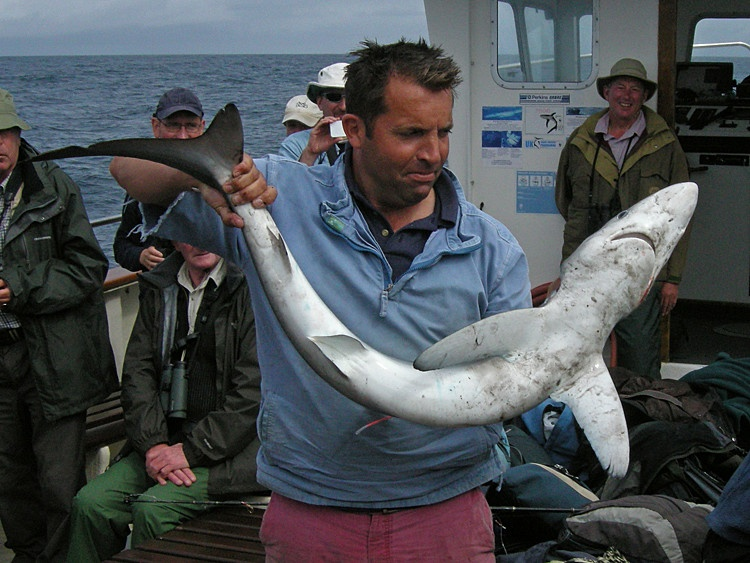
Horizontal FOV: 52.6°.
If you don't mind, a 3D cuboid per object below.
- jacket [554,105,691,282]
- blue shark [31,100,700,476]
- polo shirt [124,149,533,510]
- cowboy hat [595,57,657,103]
[{"bbox_3d":[2.319,-0.928,6.987,1.117,1.774,0.458,13,13,31],"label":"jacket"},{"bbox_3d":[0.224,0.133,3.109,2.543,1.088,1.034,11,-23,1],"label":"blue shark"},{"bbox_3d":[-0.020,0.274,3.532,1.223,1.578,0.689,-1,2,-1],"label":"polo shirt"},{"bbox_3d":[2.162,-1.757,6.596,0.505,0.347,0.445,0,12,14],"label":"cowboy hat"}]
